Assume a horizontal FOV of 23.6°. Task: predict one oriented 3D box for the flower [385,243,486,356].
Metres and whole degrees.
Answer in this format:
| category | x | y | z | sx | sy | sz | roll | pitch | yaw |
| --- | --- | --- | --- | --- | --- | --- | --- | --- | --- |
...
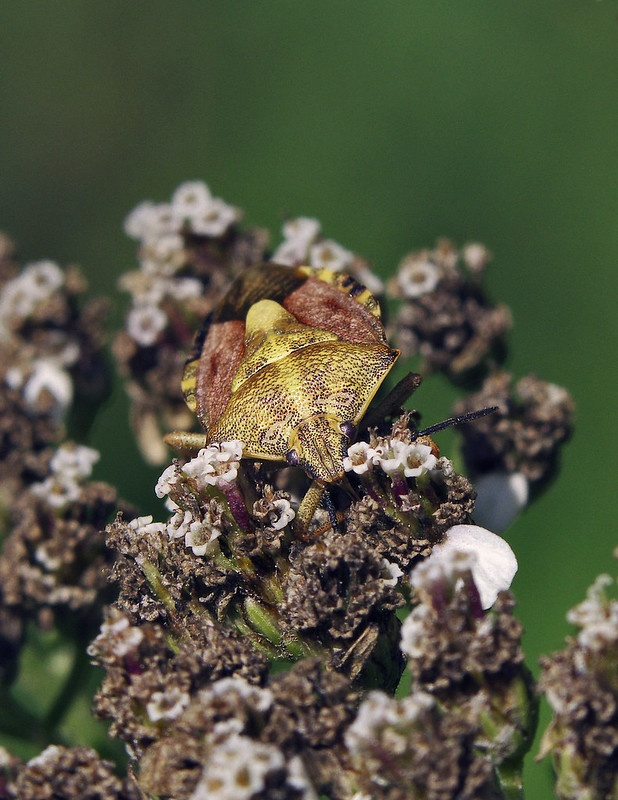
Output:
| category | x | y | z | sx | sy | sz | roll | pitch | yaw |
| --- | --- | --- | --- | --- | --- | --- | --- | --- | --- |
| flower | 0.305 | -0.241 | 3.514 | 0.276 | 0.226 | 0.093 | -1 | 12 | 28 |
